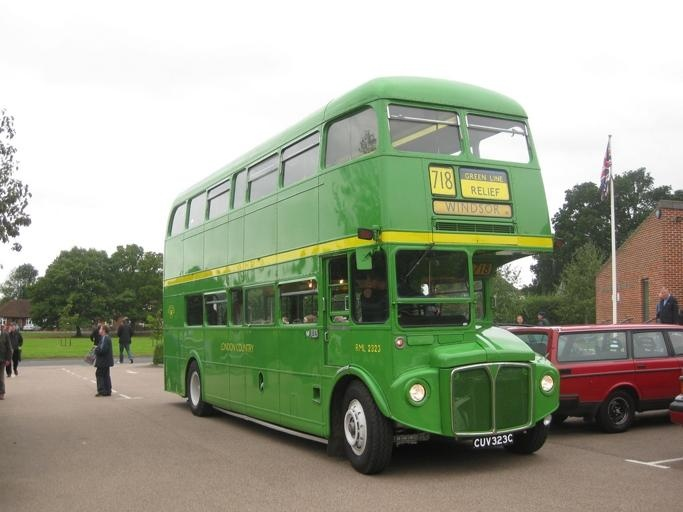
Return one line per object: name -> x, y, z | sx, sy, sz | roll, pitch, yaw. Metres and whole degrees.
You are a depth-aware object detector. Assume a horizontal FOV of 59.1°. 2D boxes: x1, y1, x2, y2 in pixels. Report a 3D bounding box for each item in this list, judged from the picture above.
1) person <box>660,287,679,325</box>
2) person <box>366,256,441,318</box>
person -> 8.906, 1.349, 16.478 | 0.433, 0.929, 0.890 | -5, -3, 28
person -> 1.085, 0.465, 9.303 | 0.663, 1.403, 1.010 | 2, -6, -24
